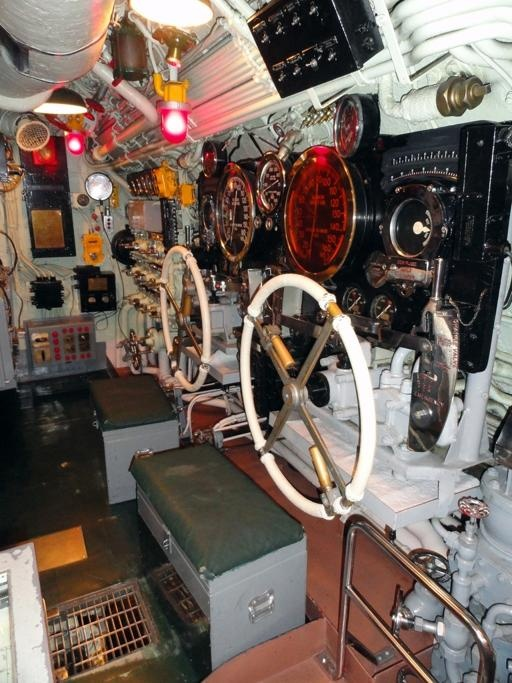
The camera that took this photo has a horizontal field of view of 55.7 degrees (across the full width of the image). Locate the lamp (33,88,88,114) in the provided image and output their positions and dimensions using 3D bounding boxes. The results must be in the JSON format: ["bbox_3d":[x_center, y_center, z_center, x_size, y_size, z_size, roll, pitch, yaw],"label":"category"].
[{"bbox_3d":[-1.397,-1.757,3.481,0.319,0.161,0.546,-5,15,-22],"label":"lamp"}]

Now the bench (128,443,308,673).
[{"bbox_3d":[-0.217,0.915,2.337,0.555,0.460,0.970,-7,18,-31],"label":"bench"}]

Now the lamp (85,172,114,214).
[{"bbox_3d":[-2.054,-2.017,6.414,0.366,0.445,0.167,-14,20,-43],"label":"lamp"}]
